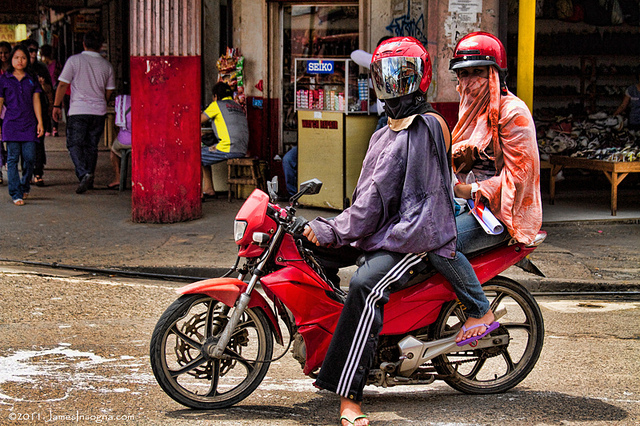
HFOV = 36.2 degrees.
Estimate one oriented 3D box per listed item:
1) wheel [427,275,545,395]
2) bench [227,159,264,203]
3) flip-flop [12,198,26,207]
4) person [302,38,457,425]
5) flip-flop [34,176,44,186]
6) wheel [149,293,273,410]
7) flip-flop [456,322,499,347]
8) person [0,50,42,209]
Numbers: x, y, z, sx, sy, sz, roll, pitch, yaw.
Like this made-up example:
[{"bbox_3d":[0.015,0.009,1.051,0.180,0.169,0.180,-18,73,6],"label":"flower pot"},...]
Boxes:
[{"bbox_3d":[1.641,1.276,9.912,1.122,1.072,0.185,-12,-4,-4],"label":"wheel"},{"bbox_3d":[-1.259,-0.632,16.985,0.760,0.779,0.760,-8,16,-15],"label":"bench"},{"bbox_3d":[-4.935,-0.180,16.050,0.172,0.121,0.249,-3,7,-26],"label":"flip-flop"},{"bbox_3d":[0.613,0.162,9.483,1.388,3.697,0.551,-2,6,-15],"label":"person"},{"bbox_3d":[-5.194,-0.593,18.023,0.203,0.226,0.581,0,-1,-19],"label":"flip-flop"},{"bbox_3d":[-1.060,1.411,9.690,1.040,1.018,0.241,11,7,-6],"label":"wheel"},{"bbox_3d":[1.564,1.201,9.740,0.432,0.120,0.199,-21,-3,-8],"label":"flip-flop"},{"bbox_3d":[-5.015,-1.431,16.401,0.665,2.568,1.581,-2,6,-16],"label":"person"}]
